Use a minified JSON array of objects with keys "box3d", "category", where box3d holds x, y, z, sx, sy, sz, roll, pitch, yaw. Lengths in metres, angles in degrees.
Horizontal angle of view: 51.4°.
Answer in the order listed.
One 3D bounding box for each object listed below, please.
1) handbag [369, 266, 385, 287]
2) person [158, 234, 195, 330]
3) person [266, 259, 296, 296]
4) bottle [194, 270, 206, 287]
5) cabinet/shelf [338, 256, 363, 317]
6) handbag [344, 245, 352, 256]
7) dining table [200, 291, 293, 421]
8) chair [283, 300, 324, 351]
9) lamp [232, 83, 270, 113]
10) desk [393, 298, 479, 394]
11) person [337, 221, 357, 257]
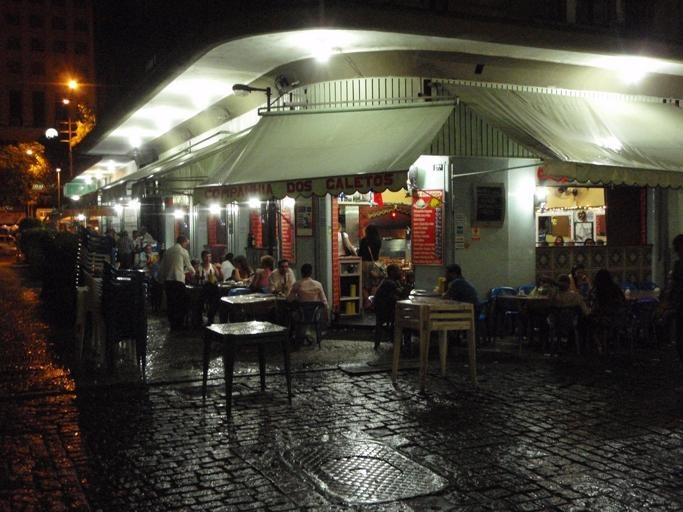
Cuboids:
[{"box3d":[0.856,0.508,17.202,0.319,0.247,0.319,-30,45,-26],"category":"handbag"},{"box3d":[-3.764,0.609,16.239,0.688,1.993,1.063,-1,6,-9],"category":"person"},{"box3d":[-1.248,0.429,14.539,0.621,1.013,0.617,0,-2,-19],"category":"person"},{"box3d":[-3.331,0.512,16.696,0.251,0.309,1.009,-2,7,-12],"category":"bottle"},{"box3d":[0.207,0.730,16.554,0.548,1.371,0.308,-1,6,-8],"category":"cabinet/shelf"},{"box3d":[0.132,-0.111,16.936,0.174,0.217,0.185,0,0,19],"category":"handbag"},{"box3d":[-1.340,1.383,10.306,1.175,1.317,1.161,-3,7,-22],"category":"dining table"},{"box3d":[-0.702,1.289,13.667,0.687,1.217,0.838,-1,8,-10],"category":"chair"},{"box3d":[-2.047,-3.682,16.474,0.877,0.772,2.409,-1,7,-7],"category":"lamp"},{"box3d":[1.348,1.168,11.160,1.087,1.536,1.437,-1,3,-21],"category":"desk"},{"box3d":[0.129,-0.367,16.937,0.404,0.714,0.826,0,6,0],"category":"person"}]
